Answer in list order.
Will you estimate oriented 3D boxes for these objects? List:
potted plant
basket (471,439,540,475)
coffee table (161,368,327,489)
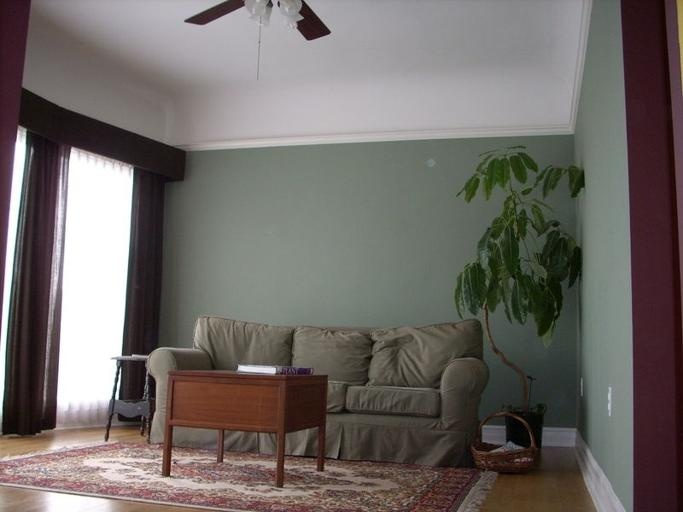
[{"bbox_3d":[1.509,0.237,4.451,1.001,2.752,1.192,-1,-6,21],"label":"potted plant"},{"bbox_3d":[1.140,1.407,3.644,0.374,0.174,0.300,-10,-14,16],"label":"basket"},{"bbox_3d":[-0.561,0.900,3.166,0.709,0.606,0.776,-3,-12,20],"label":"coffee table"}]
